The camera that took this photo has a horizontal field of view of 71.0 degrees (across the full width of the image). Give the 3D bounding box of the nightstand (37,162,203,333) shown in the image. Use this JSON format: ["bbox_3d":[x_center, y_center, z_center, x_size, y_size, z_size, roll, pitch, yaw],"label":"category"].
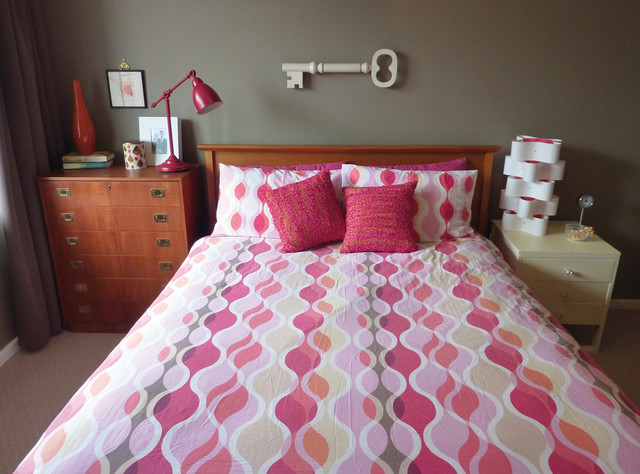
[{"bbox_3d":[-1.297,0.036,2.879,1.039,1.232,0.451,-1,19,-4],"label":"nightstand"}]

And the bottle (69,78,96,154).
[{"bbox_3d":[-1.629,-0.813,3.061,0.112,0.483,0.107,-2,20,1],"label":"bottle"}]

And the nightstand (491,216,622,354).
[{"bbox_3d":[1.416,0.338,3.234,0.770,0.948,0.725,1,23,6],"label":"nightstand"}]

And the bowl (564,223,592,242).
[{"bbox_3d":[1.685,-0.032,2.929,0.126,0.078,0.131,-1,8,0],"label":"bowl"}]

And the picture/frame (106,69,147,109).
[{"bbox_3d":[-1.339,-1.042,3.110,0.235,0.242,0.024,1,22,2],"label":"picture/frame"}]
